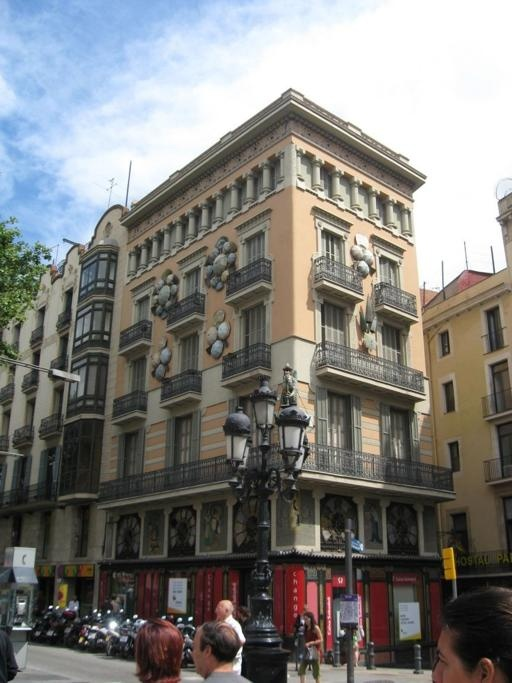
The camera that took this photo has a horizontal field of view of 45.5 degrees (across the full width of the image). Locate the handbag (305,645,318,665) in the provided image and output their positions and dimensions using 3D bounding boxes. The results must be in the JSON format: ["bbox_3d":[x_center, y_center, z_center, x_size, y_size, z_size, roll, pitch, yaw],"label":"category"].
[{"bbox_3d":[1.378,7.784,15.235,0.215,0.352,0.365,28,-37,-31],"label":"handbag"}]
